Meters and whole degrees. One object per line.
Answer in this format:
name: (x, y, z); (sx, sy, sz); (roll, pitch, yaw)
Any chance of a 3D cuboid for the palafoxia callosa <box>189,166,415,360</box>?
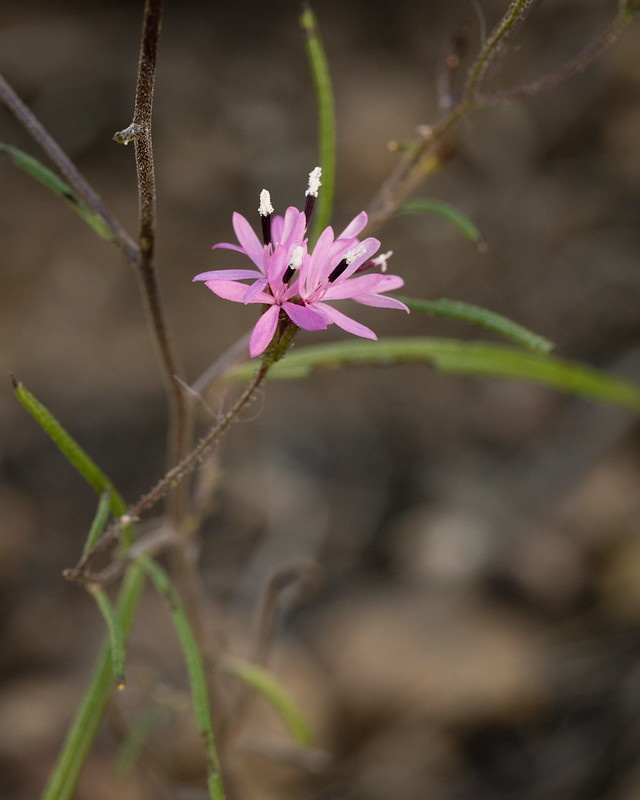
palafoxia callosa: (-0.030, -0.144, 0.846); (0.222, 0.097, 0.195); (19, 2, 1)
